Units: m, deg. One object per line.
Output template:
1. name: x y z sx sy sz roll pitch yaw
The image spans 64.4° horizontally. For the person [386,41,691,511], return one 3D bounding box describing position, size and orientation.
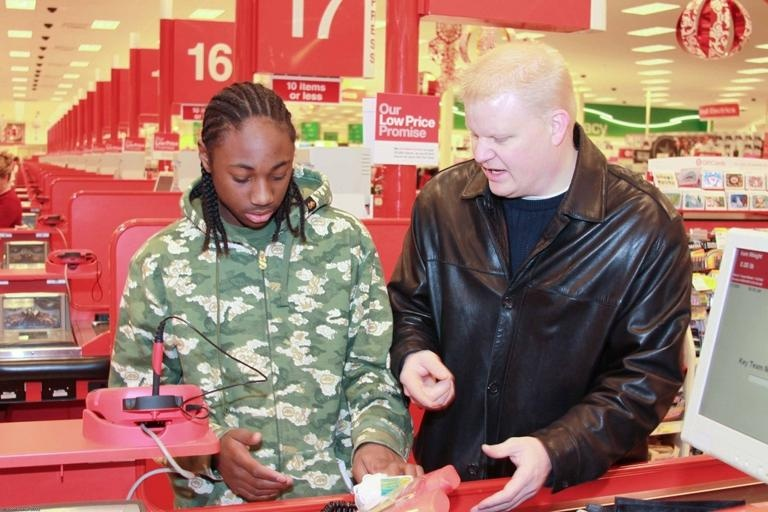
1. person: 0.533 0.046 2.187 0.837 1.584 0.900 -10 14 -32
